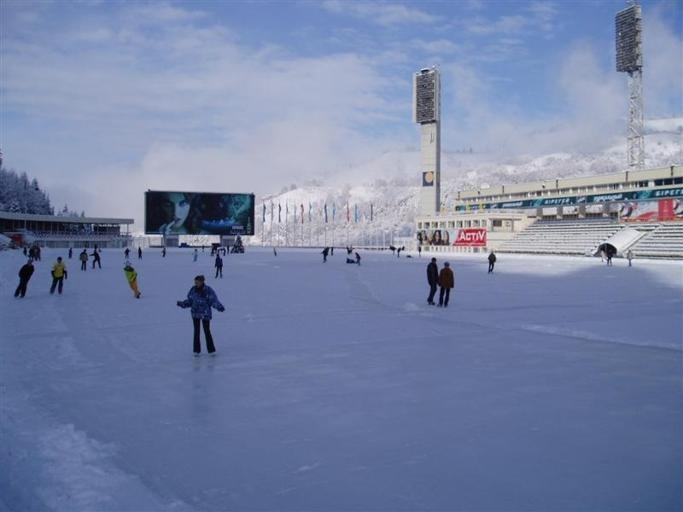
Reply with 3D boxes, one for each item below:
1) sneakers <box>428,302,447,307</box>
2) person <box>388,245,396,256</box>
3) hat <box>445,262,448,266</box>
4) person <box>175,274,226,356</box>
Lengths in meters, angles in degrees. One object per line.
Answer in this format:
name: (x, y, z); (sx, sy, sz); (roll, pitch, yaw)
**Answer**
sneakers: (3.095, 1.584, 24.050); (0.472, 0.215, 0.150); (-4, -4, 26)
person: (5.726, -0.731, 85.142); (0.546, 1.050, 2.037); (0, -10, 12)
hat: (3.285, 0.270, 23.466); (0.102, 0.111, 0.104); (1, 4, 1)
person: (-3.102, 1.324, 16.668); (0.910, 1.789, 0.737); (0, 3, 9)
